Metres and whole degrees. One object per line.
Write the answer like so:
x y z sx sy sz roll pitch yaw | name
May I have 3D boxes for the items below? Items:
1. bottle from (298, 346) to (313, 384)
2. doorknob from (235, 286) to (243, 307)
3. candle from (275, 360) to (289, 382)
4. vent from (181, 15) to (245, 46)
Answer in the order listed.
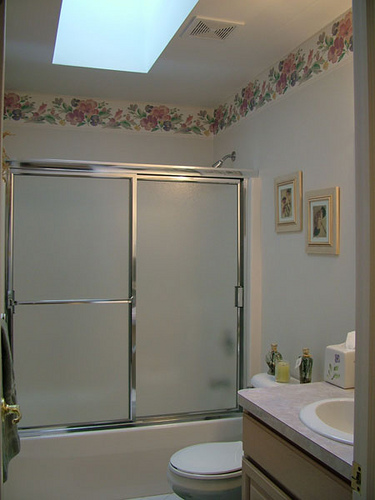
0.527 0.514 1.812 0.058 0.143 0.158 -6 -7 13 | bottle
0.318 0.286 2.458 0.045 0.124 0.024 -5 -7 3 | doorknob
0.429 0.553 1.833 0.068 0.094 0.078 1 -8 0 | candle
0.113 -1.033 1.892 0.116 0.047 0.071 1 4 -21 | vent
